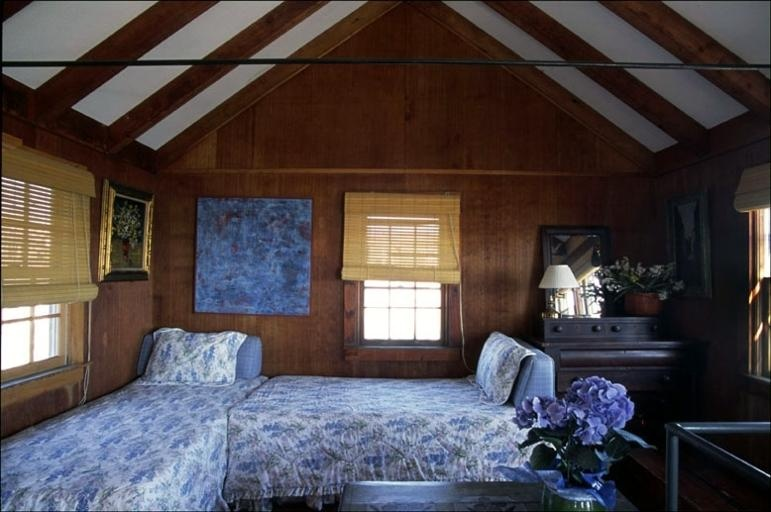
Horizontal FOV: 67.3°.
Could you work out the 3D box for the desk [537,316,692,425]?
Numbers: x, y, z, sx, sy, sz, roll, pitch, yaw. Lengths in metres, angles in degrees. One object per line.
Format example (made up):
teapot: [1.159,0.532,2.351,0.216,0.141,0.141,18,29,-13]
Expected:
desk: [2.266,1.296,5.928,1.359,1.420,0.802,0,-8,2]

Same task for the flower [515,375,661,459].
flower: [1.314,1.072,4.182,0.592,0.606,0.696,5,-16,4]

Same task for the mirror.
mirror: [1.947,0.187,5.877,0.695,1.366,0.076,0,-44,15]

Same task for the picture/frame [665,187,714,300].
picture/frame: [2.953,-0.108,5.662,0.077,0.996,0.479,0,-2,-16]

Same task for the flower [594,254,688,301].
flower: [2.569,0.302,5.834,0.512,0.258,0.523,8,-11,-32]

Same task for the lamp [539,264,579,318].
lamp: [1.737,0.335,5.909,0.449,0.579,0.473,-1,-1,24]
